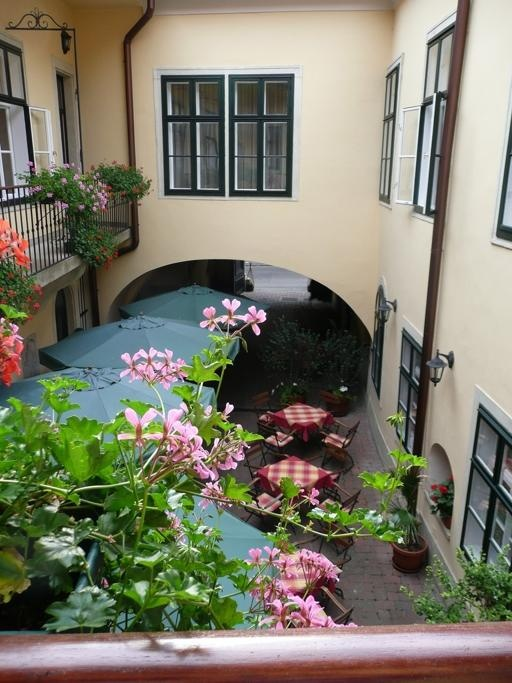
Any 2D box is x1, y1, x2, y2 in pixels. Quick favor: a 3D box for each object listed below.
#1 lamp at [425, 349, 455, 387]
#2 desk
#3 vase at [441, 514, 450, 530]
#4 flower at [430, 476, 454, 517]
[{"bbox_3d":[2.758,0.426,6.625,0.350,0.726,0.514,8,18,17],"label":"lamp"},{"bbox_3d":[0.970,2.279,9.655,1.692,0.786,2.920,12,19,16],"label":"desk"},{"bbox_3d":[2.939,2.775,6.814,0.161,0.185,0.172,3,19,16],"label":"vase"},{"bbox_3d":[2.934,2.510,6.939,0.300,0.675,0.692,9,19,21],"label":"flower"}]
